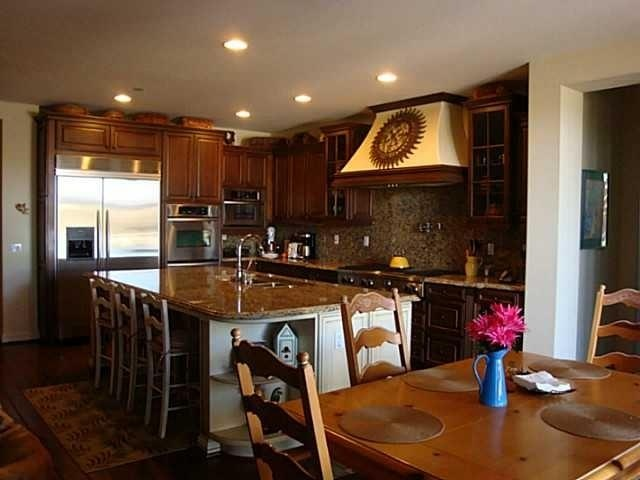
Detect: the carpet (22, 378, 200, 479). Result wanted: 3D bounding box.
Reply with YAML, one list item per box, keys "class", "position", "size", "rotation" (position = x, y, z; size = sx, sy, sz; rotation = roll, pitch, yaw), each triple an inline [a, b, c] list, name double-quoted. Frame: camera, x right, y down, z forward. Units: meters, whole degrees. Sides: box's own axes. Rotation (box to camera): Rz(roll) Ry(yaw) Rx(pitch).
- class: "carpet"
  position: [-1.751, 1.411, 3.863]
  size: [0.645, 0.059, 1.701]
  rotation: [-4, 9, -44]

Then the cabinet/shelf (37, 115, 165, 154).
- class: "cabinet/shelf"
  position: [-2.632, -1.275, 6.381]
  size: [1.671, 0.477, 0.414]
  rotation: [6, 5, 5]

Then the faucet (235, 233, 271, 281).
- class: "faucet"
  position: [-0.703, 0.186, 4.765]
  size: [0.344, 0.495, 0.217]
  rotation: [-8, 20, -30]

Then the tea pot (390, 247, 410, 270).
- class: "tea pot"
  position: [0.953, 0.237, 5.974]
  size: [0.240, 0.186, 0.221]
  rotation: [1, -2, 0]

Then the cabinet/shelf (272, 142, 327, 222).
- class: "cabinet/shelf"
  position: [-0.268, -0.841, 7.096]
  size: [0.472, 1.156, 1.386]
  rotation: [1, -1, -33]

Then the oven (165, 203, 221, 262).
- class: "oven"
  position: [-1.963, -0.101, 7.002]
  size: [0.672, 0.843, 0.903]
  rotation: [3, 4, 38]

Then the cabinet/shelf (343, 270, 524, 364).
- class: "cabinet/shelf"
  position: [1.321, 0.889, 5.689]
  size: [0.939, 1.080, 2.307]
  rotation: [-3, 0, -18]

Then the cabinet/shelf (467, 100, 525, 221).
- class: "cabinet/shelf"
  position: [1.731, -0.780, 4.879]
  size: [0.228, 1.140, 0.596]
  rotation: [-3, 9, -33]

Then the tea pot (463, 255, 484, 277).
- class: "tea pot"
  position: [1.612, 0.279, 5.315]
  size: [0.266, 0.225, 0.183]
  rotation: [2, -5, -7]

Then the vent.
- class: "vent"
  position: [1.025, -1.134, 5.724]
  size: [0.903, 0.852, 1.532]
  rotation: [-10, 13, -33]

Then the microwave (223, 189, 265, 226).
- class: "microwave"
  position: [-1.082, -0.469, 7.545]
  size: [0.706, 0.529, 0.335]
  rotation: [3, 3, 15]

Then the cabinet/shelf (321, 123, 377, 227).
- class: "cabinet/shelf"
  position: [0.361, -0.860, 6.552]
  size: [0.443, 1.295, 0.756]
  rotation: [-5, 9, -29]

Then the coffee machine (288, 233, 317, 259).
- class: "coffee machine"
  position: [-0.236, 0.079, 7.449]
  size: [0.502, 0.418, 0.317]
  rotation: [2, -1, 11]

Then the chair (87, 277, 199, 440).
- class: "chair"
  position: [-1.433, 0.987, 4.089]
  size: [0.393, 0.662, 1.137]
  rotation: [-5, 8, -37]
